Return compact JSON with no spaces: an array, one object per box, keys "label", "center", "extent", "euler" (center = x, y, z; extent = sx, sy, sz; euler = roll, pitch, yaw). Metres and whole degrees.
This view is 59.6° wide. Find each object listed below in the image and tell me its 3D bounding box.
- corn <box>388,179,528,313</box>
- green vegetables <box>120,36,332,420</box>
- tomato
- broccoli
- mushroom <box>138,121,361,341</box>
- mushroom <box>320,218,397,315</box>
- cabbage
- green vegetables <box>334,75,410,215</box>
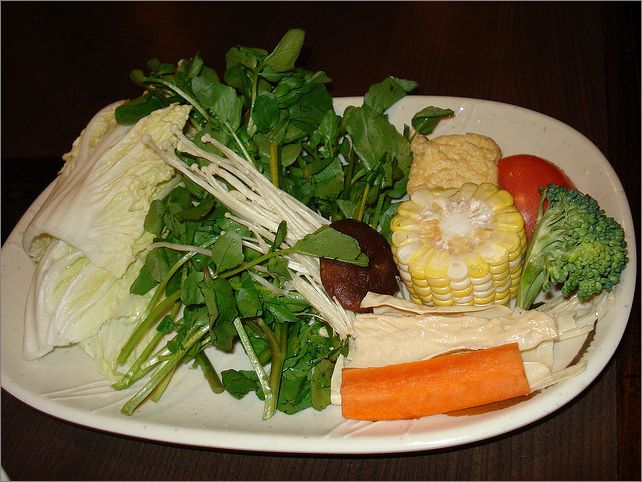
[{"label":"corn","center":[0.446,0.012,1.855],"extent":[0.419,0.396,0.173],"euler":[-3,-12,2]},{"label":"green vegetables","center":[-0.331,-0.138,1.992],"extent":[0.627,1.322,0.798],"euler":[-18,31,-27]},{"label":"tomato","center":[0.730,-0.212,2.092],"extent":[0.334,0.254,0.221],"euler":[-16,27,-38]},{"label":"broccoli","center":[0.819,0.027,1.796],"extent":[0.255,0.323,0.271],"euler":[-4,42,-47]},{"label":"mushroom","center":[-0.211,-0.102,2.055],"extent":[0.704,0.712,0.637],"euler":[-14,29,-4]},{"label":"mushroom","center":[0.124,0.108,1.860],"extent":[0.227,0.310,0.218],"euler":[-3,25,-2]},{"label":"cabbage","center":[-0.752,-0.029,2.165],"extent":[0.570,0.975,0.410],"euler":[11,-31,31]},{"label":"green vegetables","center":[0.202,-0.361,2.004],"extent":[0.233,0.518,0.120],"euler":[13,-11,8]}]
